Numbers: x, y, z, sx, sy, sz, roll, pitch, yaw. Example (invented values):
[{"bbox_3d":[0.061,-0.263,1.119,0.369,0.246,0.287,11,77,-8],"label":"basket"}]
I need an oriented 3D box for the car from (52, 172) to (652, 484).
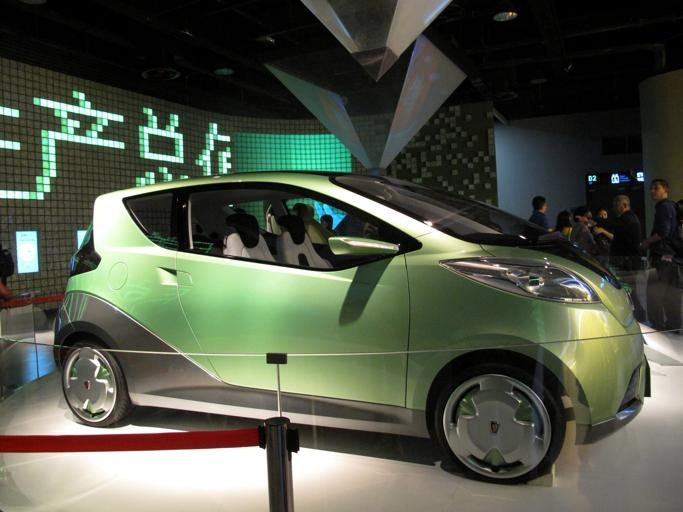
[{"bbox_3d":[-0.132,0.224,1.897,1.929,0.919,1.237,-2,-2,26],"label":"car"}]

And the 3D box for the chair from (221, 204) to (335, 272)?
[{"bbox_3d":[-0.333,-0.066,2.623,0.466,0.485,0.315,-3,5,28],"label":"chair"}]
